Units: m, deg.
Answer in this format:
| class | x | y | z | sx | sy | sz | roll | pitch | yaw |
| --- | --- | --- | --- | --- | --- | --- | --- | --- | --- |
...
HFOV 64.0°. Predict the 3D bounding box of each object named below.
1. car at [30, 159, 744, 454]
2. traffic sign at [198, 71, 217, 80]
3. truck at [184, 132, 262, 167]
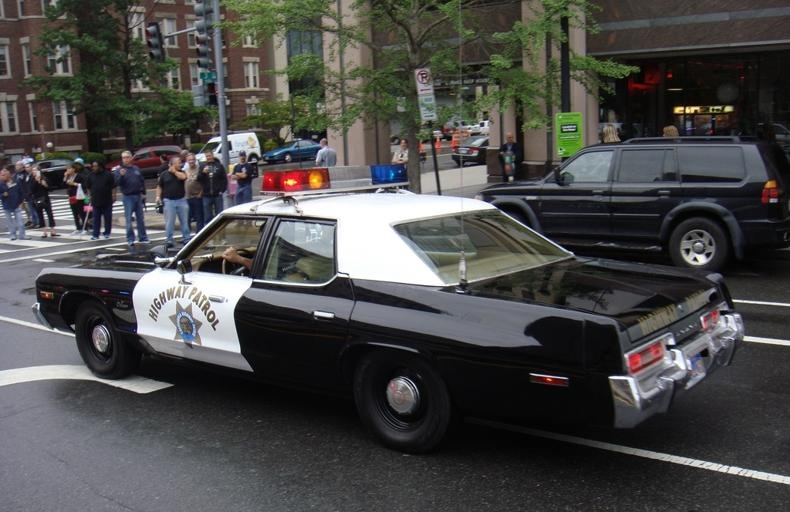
| class | x | y | z | sx | sy | sz | roll | pitch | yaw |
| --- | --- | --- | --- | --- | --- | --- | --- | --- | --- |
| car | -0.364 | 0.248 | 6.562 | 6.320 | 1.676 | 2.751 | 6 | 10 | 29 |
| traffic sign | -5.681 | -5.540 | 19.288 | 0.438 | 0.327 | 0.526 | -5 | 14 | -12 |
| truck | -12.228 | -7.641 | 45.545 | 2.475 | 2.444 | 5.258 | 12 | 21 | 37 |
